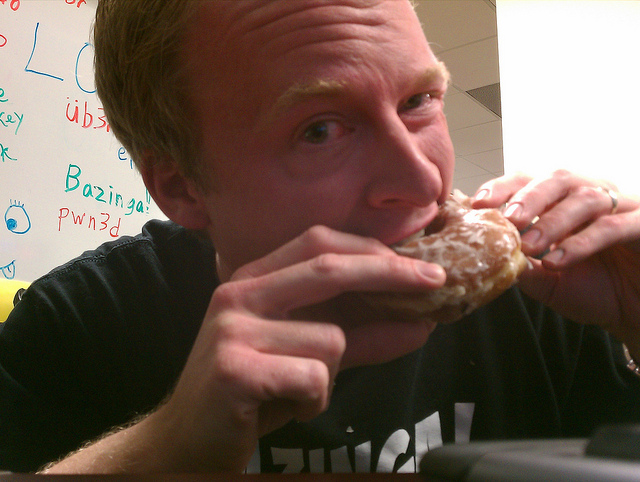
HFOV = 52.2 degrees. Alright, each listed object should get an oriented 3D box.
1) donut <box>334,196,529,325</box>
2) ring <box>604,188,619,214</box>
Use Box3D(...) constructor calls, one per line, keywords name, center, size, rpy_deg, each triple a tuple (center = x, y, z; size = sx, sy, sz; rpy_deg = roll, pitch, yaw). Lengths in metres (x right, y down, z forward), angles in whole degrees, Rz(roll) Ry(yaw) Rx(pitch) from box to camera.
Box3D(name="donut", center=(0.335, 0.067, 1.732), size=(0.361, 0.136, 0.366), rpy_deg=(-27, 21, -15))
Box3D(name="ring", center=(0.852, -0.117, 1.889), size=(0.015, 0.056, 0.057), rpy_deg=(-17, -12, 24))
